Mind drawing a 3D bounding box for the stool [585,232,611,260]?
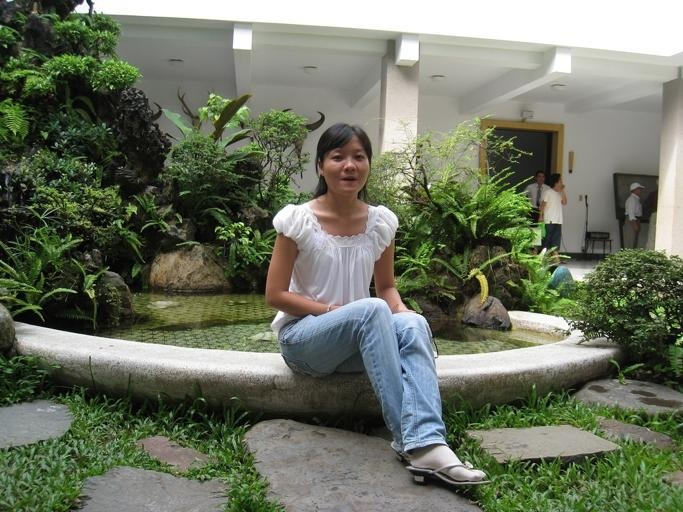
[{"bbox_3d":[7.290,-0.321,13.893,0.793,0.719,0.584,3,16,9],"label":"stool"}]

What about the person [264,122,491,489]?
[{"bbox_3d":[0.171,0.158,2.296,1.017,1.543,0.598,10,13,36],"label":"person"}]

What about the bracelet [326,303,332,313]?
[{"bbox_3d":[-0.063,0.249,2.343,0.028,0.035,0.014,8,-11,-7],"label":"bracelet"}]

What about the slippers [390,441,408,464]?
[{"bbox_3d":[0.243,0.850,2.129,0.045,0.050,0.131,-5,9,-12],"label":"slippers"}]
